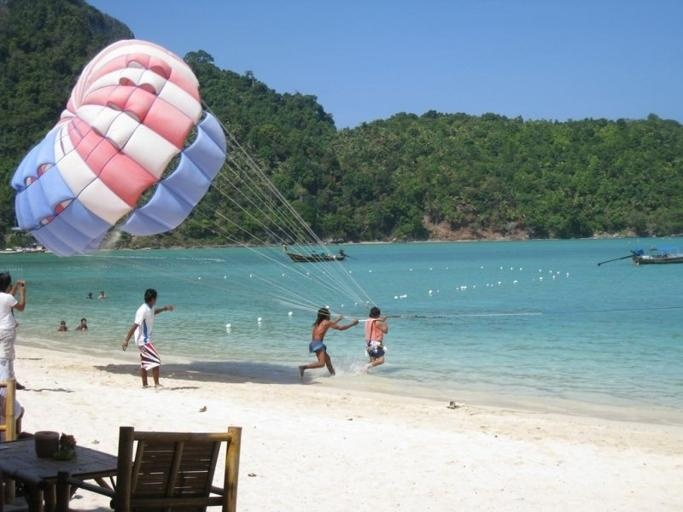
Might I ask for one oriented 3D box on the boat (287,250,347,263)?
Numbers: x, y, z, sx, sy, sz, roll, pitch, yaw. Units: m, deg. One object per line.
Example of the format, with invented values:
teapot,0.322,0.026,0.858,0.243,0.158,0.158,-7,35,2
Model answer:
boat,-2.793,-0.023,70.625,6.695,1.137,1.443,2,-18,8
